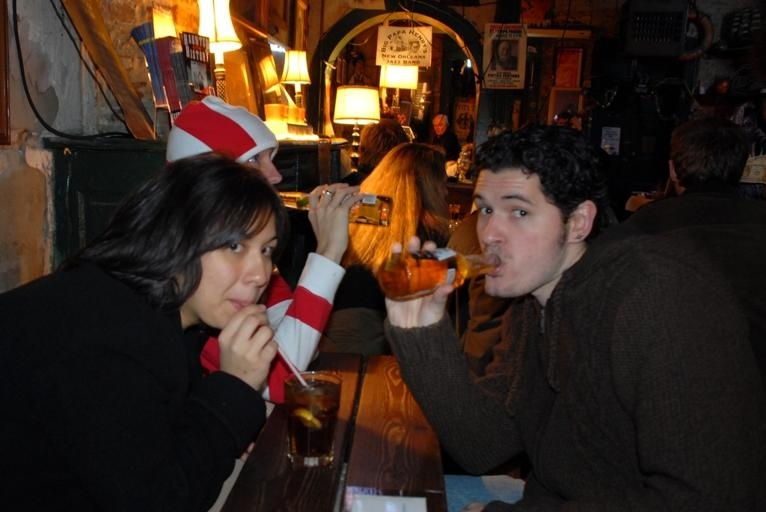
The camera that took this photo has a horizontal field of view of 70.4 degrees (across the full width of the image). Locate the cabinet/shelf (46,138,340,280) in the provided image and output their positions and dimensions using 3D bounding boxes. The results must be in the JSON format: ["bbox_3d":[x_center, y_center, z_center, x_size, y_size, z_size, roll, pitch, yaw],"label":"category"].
[{"bbox_3d":[-0.893,-0.204,2.279,0.307,0.744,0.863,-2,5,30],"label":"cabinet/shelf"}]

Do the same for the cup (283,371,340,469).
[{"bbox_3d":[-0.210,0.492,1.627,0.160,0.245,0.097,-1,11,-10],"label":"cup"}]

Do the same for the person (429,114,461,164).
[{"bbox_3d":[0.858,-1.756,8.326,0.613,0.702,0.538,21,32,41],"label":"person"}]

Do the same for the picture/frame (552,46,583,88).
[{"bbox_3d":[2.449,-2.461,7.145,0.361,0.506,0.096,3,11,11],"label":"picture/frame"}]

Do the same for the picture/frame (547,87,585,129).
[{"bbox_3d":[2.412,-1.948,7.132,0.718,0.600,0.175,2,2,7],"label":"picture/frame"}]
